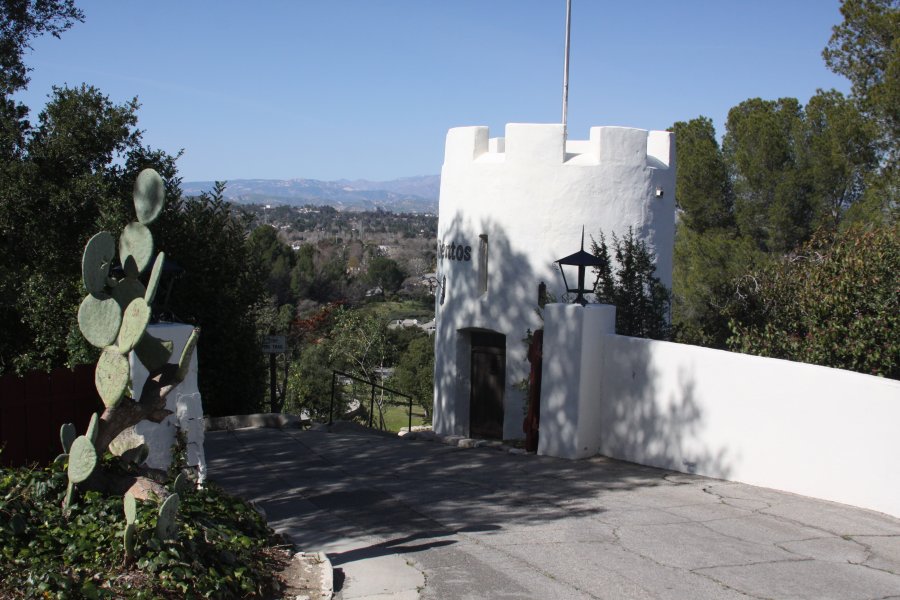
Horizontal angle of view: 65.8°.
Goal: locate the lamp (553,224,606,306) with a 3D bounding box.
[{"bbox_3d":[2.888,-0.730,15.278,1.091,1.678,1.233,1,-3,39],"label":"lamp"}]
